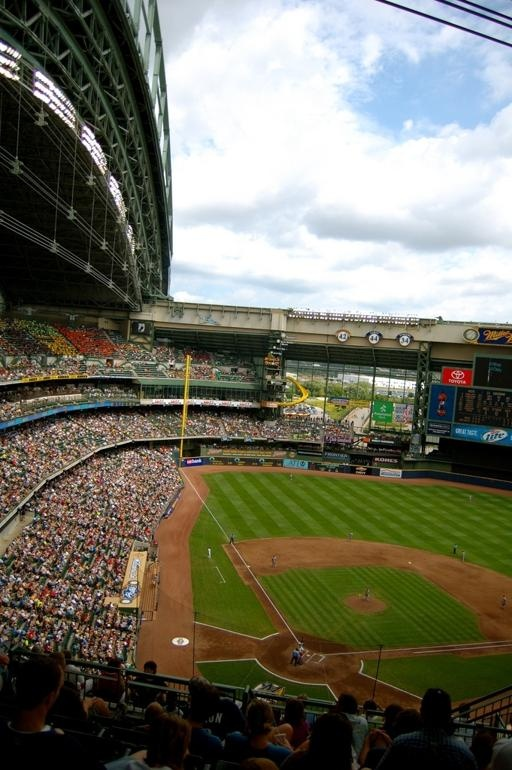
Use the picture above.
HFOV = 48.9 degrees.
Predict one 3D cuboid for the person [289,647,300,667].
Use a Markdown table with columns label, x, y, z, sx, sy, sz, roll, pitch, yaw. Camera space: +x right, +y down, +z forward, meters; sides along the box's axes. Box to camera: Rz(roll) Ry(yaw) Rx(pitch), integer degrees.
| label | x | y | z | sx | sy | sz | roll | pitch | yaw |
| --- | --- | --- | --- | --- | --- | --- | --- | --- | --- |
| person | 1.546 | 10.914 | 22.431 | 0.382 | 0.370 | 0.740 | 4 | 3 | 4 |
